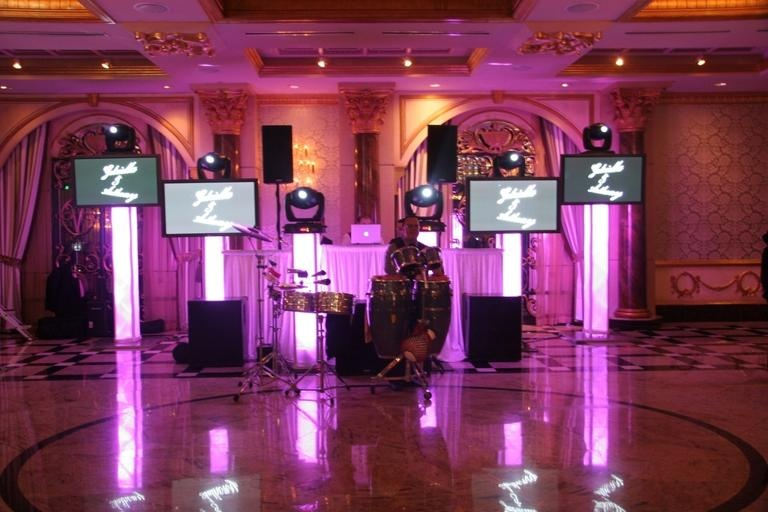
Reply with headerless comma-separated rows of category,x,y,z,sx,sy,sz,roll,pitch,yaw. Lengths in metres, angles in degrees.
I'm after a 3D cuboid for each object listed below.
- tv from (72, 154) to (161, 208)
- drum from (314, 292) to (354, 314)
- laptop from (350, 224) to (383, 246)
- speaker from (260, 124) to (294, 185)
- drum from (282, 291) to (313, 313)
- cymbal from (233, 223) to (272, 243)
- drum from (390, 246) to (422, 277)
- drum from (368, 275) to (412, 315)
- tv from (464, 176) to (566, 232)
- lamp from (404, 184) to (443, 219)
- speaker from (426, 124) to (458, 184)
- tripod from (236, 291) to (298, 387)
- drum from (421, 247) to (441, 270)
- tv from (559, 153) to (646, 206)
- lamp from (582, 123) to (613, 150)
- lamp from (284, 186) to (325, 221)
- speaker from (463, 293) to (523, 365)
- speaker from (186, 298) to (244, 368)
tv,-3.829,-1.072,10.068,1.499,0.764,0.040,0,4,17
drum,-0.583,0.551,8.327,0.345,0.140,0.315,2,0,0
laptop,-0.238,-0.318,9.826,0.421,0.254,0.326,-1,15,-4
speaker,-1.518,-1.463,10.071,0.427,0.816,0.248,-3,16,-9
drum,-1.001,0.529,8.307,0.364,0.228,0.172,-2,15,-4
cymbal,-1.835,-0.317,9.693,0.564,0.128,0.189,21,-15,-17
drum,0.297,0.081,8.515,0.367,0.383,0.191,-1,16,-1
drum,0.108,0.453,8.378,0.520,0.407,0.484,1,-1,0
tv,1.874,-0.725,9.983,1.710,0.809,0.068,-3,5,-28
lamp,0.583,-0.782,10.074,0.621,0.489,0.190,-3,2,-22
speaker,0.904,-1.550,10.643,0.428,0.868,0.311,0,16,2
tripod,-1.494,0.980,8.884,0.718,1.388,1.430,-3,15,-8
drum,0.608,0.035,8.618,0.252,0.274,0.182,1,16,5
tv,3.299,-1.149,10.469,1.499,0.765,0.095,-3,8,-19
lamp,3.294,-1.810,10.654,0.375,0.409,0.362,0,15,4
lamp,-1.128,-0.703,9.717,0.590,0.469,0.185,-7,2,-33
speaker,1.401,1.038,9.929,1.014,0.839,0.885,0,-5,0
speaker,-2.264,1.093,9.817,1.063,1.118,0.876,0,-7,-12
